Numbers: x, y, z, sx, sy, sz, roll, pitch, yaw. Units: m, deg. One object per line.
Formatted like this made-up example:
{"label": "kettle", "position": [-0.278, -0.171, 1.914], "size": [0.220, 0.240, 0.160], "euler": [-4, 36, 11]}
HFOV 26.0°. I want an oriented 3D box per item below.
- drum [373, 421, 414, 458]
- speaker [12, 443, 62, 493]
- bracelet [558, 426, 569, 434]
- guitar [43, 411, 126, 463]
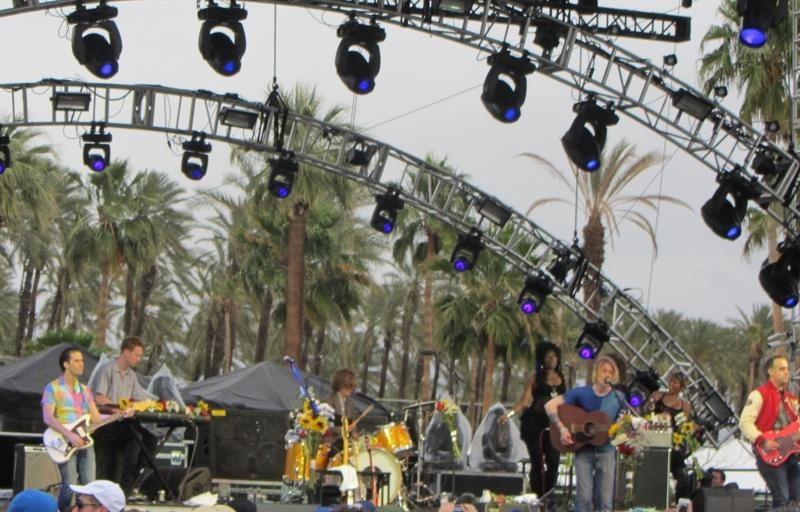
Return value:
{"label": "drum", "position": [-0.269, 6.817, 66.929], "size": [1.288, 0.970, 1.313], "euler": [-20, -16, -6]}
{"label": "speaker", "position": [-13.895, 7.973, 66.610], "size": [0.993, 1.918, 1.948], "euler": [3, -3, 23]}
{"label": "bracelet", "position": [6.115, 6.310, 64.845], "size": [0.372, 0.284, 0.183], "euler": [-1, -23, -6]}
{"label": "guitar", "position": [-11.910, 6.641, 64.578], "size": [2.489, 1.706, 0.602], "euler": [-1, -19, -2]}
